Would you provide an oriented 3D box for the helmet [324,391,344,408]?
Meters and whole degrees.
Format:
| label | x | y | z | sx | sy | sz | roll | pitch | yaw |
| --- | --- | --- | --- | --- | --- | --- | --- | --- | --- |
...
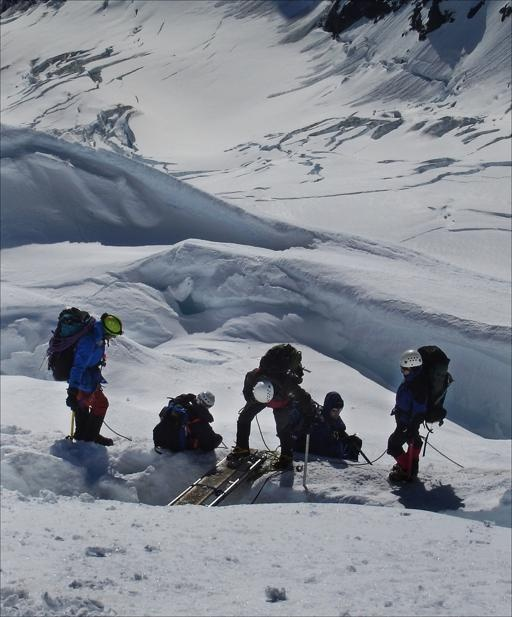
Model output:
| label | x | y | z | sx | sy | sz | roll | pitch | yaw |
| --- | --- | --- | --- | --- | --- | --- | --- | --- | --- |
| helmet | 1.047 | 1.159 | 10.949 | 0.262 | 0.195 | 0.213 | 12 | 10 | 30 |

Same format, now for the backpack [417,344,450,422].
| label | x | y | z | sx | sy | sz | roll | pitch | yaw |
| --- | --- | --- | --- | --- | --- | --- | --- | --- | --- |
| backpack | 2.152 | 0.922 | 10.282 | 0.444 | 0.966 | 0.344 | 7 | 5 | 10 |

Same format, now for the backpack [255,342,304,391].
| label | x | y | z | sx | sy | sz | roll | pitch | yaw |
| --- | --- | --- | --- | --- | --- | --- | --- | --- | --- |
| backpack | 0.300 | 0.648 | 10.136 | 0.514 | 0.461 | 0.236 | 5 | 5 | 0 |

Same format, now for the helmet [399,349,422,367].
| label | x | y | z | sx | sy | sz | roll | pitch | yaw |
| --- | --- | --- | --- | --- | --- | --- | --- | --- | --- |
| helmet | 1.878 | 0.600 | 10.194 | 0.222 | 0.175 | 0.240 | -2 | -23 | 3 |

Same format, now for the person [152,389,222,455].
| label | x | y | z | sx | sy | sz | roll | pitch | yaw |
| --- | --- | --- | --- | --- | --- | --- | --- | --- | --- |
| person | -0.891 | 1.466 | 10.648 | 0.839 | 0.697 | 0.837 | 13 | 10 | 39 |

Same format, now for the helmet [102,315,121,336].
| label | x | y | z | sx | sy | sz | roll | pitch | yaw |
| --- | --- | --- | --- | --- | --- | --- | --- | --- | --- |
| helmet | -1.729 | 0.188 | 10.014 | 0.251 | 0.273 | 0.188 | 5 | 5 | -8 |
